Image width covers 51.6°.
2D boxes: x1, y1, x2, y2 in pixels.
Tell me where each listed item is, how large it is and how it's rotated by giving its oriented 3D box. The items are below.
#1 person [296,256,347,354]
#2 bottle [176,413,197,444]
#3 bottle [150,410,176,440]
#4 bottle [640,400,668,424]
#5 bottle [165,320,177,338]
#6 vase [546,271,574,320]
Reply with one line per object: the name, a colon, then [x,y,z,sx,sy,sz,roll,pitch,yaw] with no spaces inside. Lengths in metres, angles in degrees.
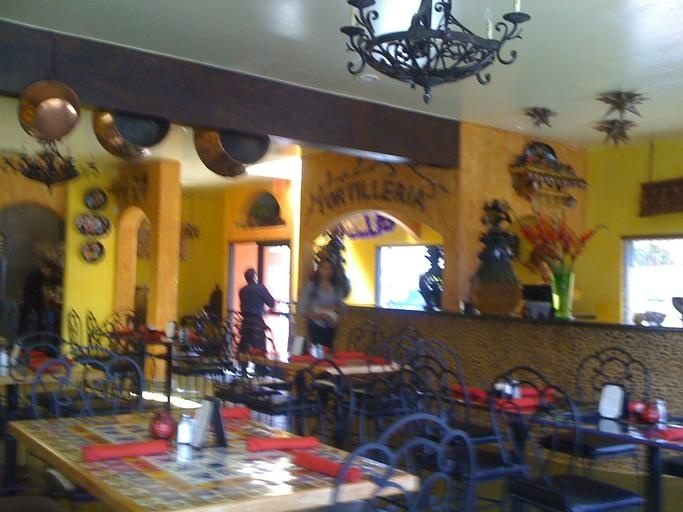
person: [-0.189,0.818,8.406,0.583,1.618,0.500,-3,21,-9]
bottle: [-0.864,0.950,3.873,0.089,0.157,0.122,3,-7,-13]
bottle: [-1.014,0.958,4.005,0.202,0.138,0.170,-5,-9,42]
bottle: [2.048,1.002,4.629,0.138,0.133,0.140,0,2,29]
bottle: [-1.912,0.840,8.008,0.137,0.220,0.139,2,3,0]
vase: [1.940,0.346,6.175,0.180,0.411,0.414,-1,-7,16]
